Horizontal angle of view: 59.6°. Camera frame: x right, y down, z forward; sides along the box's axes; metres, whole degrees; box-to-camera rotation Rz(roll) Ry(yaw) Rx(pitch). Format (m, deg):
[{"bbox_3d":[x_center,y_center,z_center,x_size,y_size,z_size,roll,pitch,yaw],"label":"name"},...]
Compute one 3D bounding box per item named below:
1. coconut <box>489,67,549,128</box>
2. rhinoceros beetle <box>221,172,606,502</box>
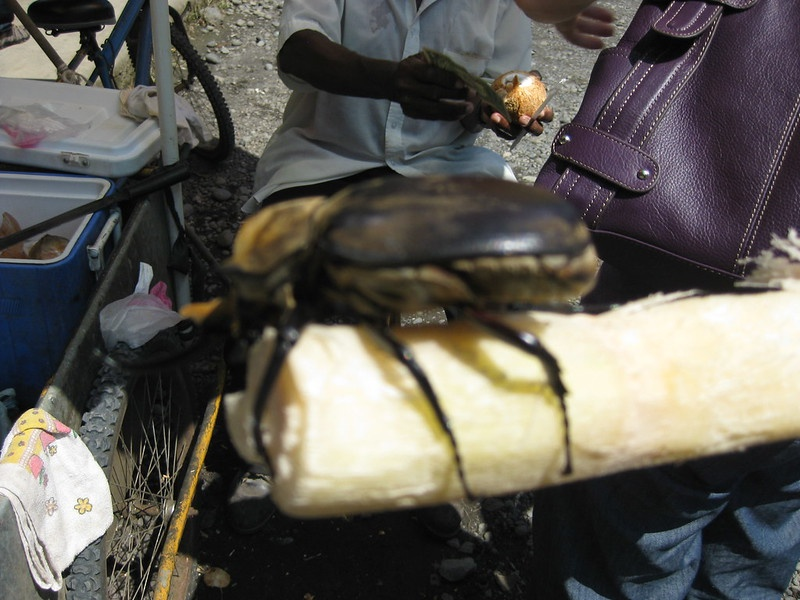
[{"bbox_3d":[0.340,-0.584,2.094,0.204,0.168,0.222,-2,99,-4],"label":"coconut"},{"bbox_3d":[0.024,-0.026,0.761,0.337,0.223,0.419,3,17,11],"label":"rhinoceros beetle"}]
